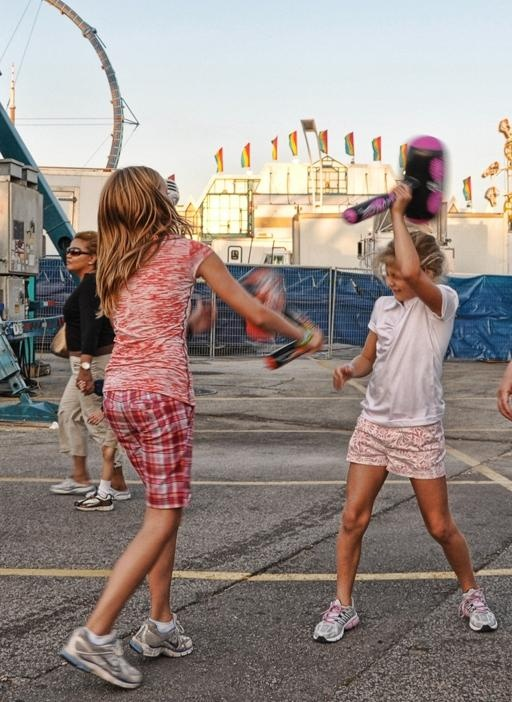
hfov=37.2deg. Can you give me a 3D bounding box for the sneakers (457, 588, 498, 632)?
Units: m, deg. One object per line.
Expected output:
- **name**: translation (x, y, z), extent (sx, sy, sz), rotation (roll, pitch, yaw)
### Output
- **sneakers**: translation (0.907, 1.070, 3.112), extent (0.099, 0.081, 0.196), rotation (-2, 0, -1)

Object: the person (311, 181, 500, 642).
- **person**: translation (0.634, 0.245, 3.017), extent (0.668, 1.802, 0.418), rotation (3, 4, 15)

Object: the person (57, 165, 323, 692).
- **person**: translation (-0.272, 0.251, 2.634), extent (0.698, 1.793, 0.522), rotation (1, 4, -6)

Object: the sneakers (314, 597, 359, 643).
- **sneakers**: translation (0.316, 1.081, 3.066), extent (0.088, 0.101, 0.237), rotation (0, 5, 31)

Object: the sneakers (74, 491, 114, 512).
- **sneakers**: translation (-1.040, 0.981, 4.898), extent (0.259, 0.105, 0.098), rotation (4, -4, -12)

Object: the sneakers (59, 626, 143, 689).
- **sneakers**: translation (-0.493, 1.011, 2.481), extent (0.086, 0.264, 0.275), rotation (6, 6, 44)

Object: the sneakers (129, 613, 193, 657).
- **sneakers**: translation (-0.311, 1.066, 2.865), extent (0.288, 0.133, 0.113), rotation (5, 2, -26)

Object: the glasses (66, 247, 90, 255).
- **glasses**: translation (-1.244, -0.680, 5.218), extent (0.093, 0.025, 0.075), rotation (2, -1, -44)

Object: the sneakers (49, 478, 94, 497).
- **sneakers**: translation (-1.267, 0.954, 5.319), extent (0.369, 0.132, 0.121), rotation (5, -3, -1)
